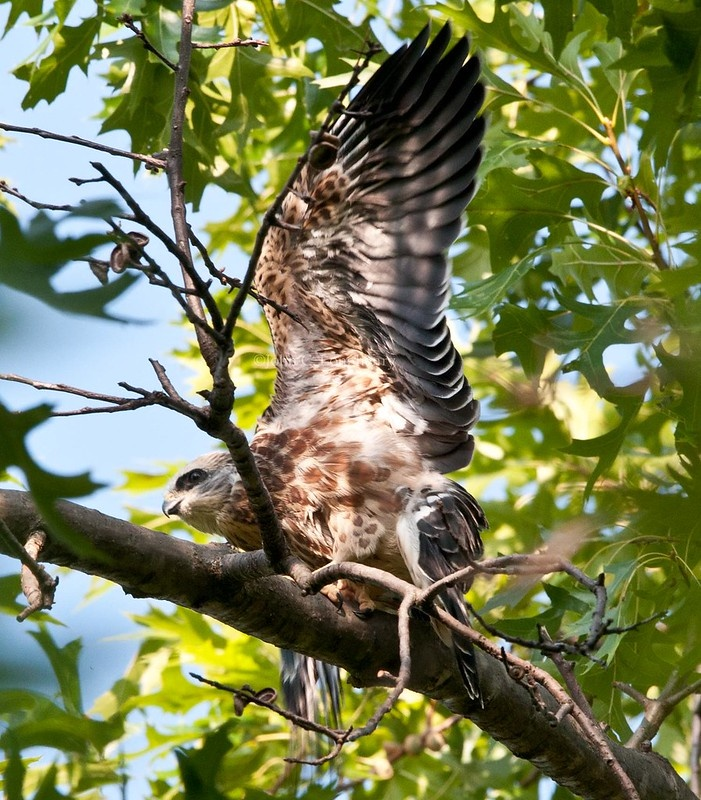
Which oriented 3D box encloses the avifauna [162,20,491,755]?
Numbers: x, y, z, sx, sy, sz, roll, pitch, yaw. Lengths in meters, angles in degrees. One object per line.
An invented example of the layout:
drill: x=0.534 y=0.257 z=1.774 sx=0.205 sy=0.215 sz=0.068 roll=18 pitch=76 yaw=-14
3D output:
avifauna: x=0.025 y=0.046 z=4.886 sx=0.766 sy=1.881 sz=1.734 roll=4 pitch=-30 yaw=-18
